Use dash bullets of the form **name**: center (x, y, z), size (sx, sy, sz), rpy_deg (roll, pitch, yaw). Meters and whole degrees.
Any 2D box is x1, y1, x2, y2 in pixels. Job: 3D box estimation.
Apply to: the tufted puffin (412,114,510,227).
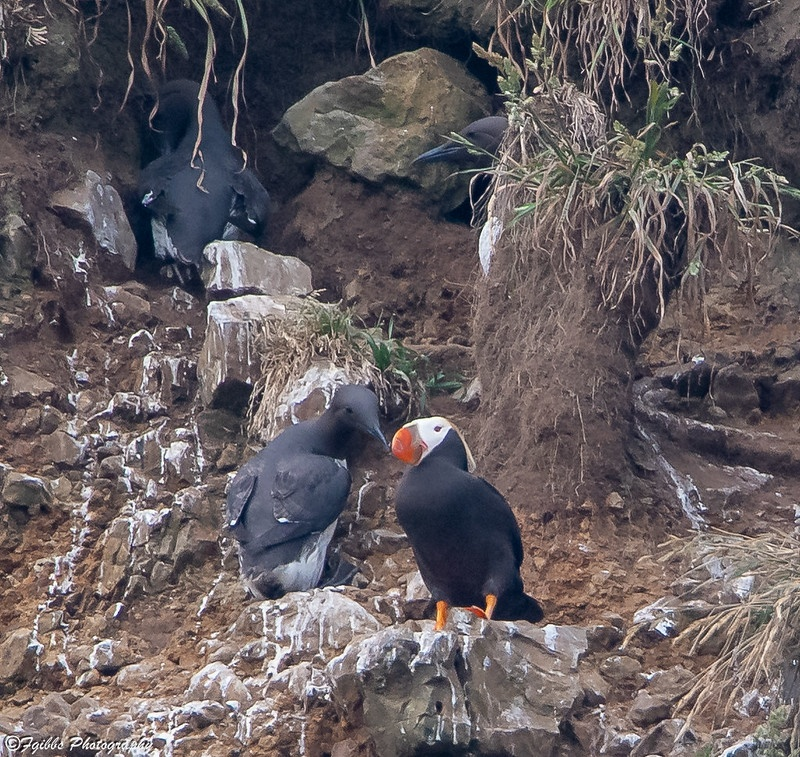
- **tufted puffin**: center (0.422, -1.570, 15.241), size (0.676, 0.802, 0.312), rpy_deg (13, 38, 4)
